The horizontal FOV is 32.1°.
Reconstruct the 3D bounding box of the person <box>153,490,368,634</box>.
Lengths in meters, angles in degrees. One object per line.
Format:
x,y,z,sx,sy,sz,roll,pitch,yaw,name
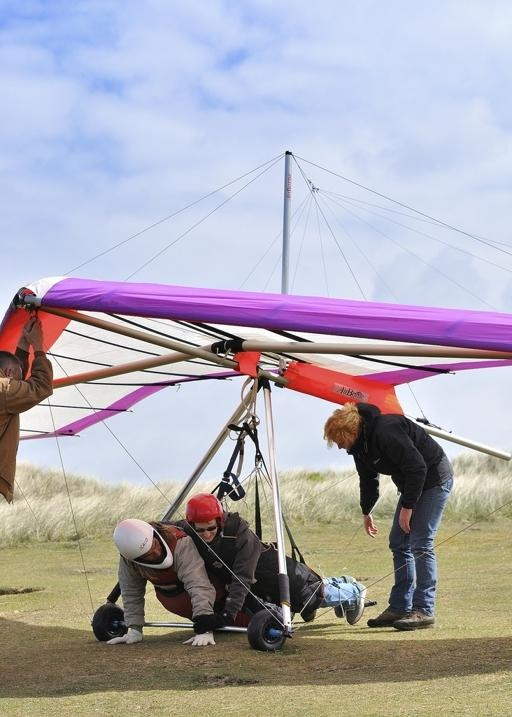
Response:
0.103,1.434,6.204,1.672,0.588,0.888,19,-19,-31,person

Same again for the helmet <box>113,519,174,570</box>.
-0.724,1.182,5.599,0.281,0.331,0.331,-1,-3,40,helmet

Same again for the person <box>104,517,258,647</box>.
-0.553,1.462,5.818,0.793,0.783,0.832,-17,-17,24,person

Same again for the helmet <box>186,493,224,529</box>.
-0.306,0.979,5.712,0.191,0.179,0.225,-3,22,20,helmet

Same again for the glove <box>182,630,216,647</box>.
-0.360,1.789,5.659,0.142,0.096,0.055,-27,-25,14,glove

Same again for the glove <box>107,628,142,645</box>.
-0.852,1.810,5.776,0.177,0.038,0.102,-5,12,3,glove

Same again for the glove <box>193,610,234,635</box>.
-0.287,1.677,5.677,0.178,0.097,0.208,-4,-11,4,glove

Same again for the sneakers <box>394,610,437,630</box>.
1.097,1.829,6.197,0.279,0.107,0.113,3,-5,-15,sneakers

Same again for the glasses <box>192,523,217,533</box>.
-0.323,1.082,5.652,0.147,0.062,0.066,1,-2,-12,glasses

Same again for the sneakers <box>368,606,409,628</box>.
0.930,1.891,6.463,0.346,0.132,0.111,2,-9,1,sneakers
